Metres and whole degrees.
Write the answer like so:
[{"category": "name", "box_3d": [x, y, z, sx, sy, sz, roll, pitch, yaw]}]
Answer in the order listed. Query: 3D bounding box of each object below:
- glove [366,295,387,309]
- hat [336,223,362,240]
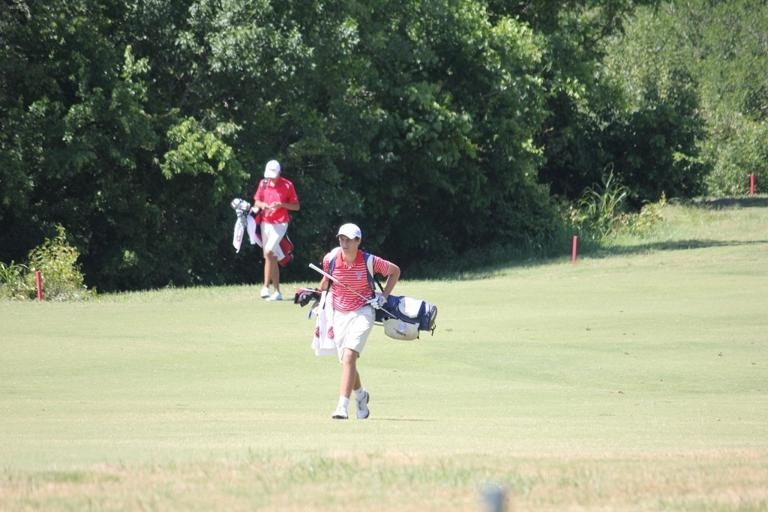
[{"category": "glove", "box_3d": [-0.198, 1.345, 46.951, 0.460, 0.255, 0.343, -6, 2, 9]}, {"category": "hat", "box_3d": [-0.977, -0.700, 47.324, 0.593, 0.440, 1.085, -1, 11, 2]}]
